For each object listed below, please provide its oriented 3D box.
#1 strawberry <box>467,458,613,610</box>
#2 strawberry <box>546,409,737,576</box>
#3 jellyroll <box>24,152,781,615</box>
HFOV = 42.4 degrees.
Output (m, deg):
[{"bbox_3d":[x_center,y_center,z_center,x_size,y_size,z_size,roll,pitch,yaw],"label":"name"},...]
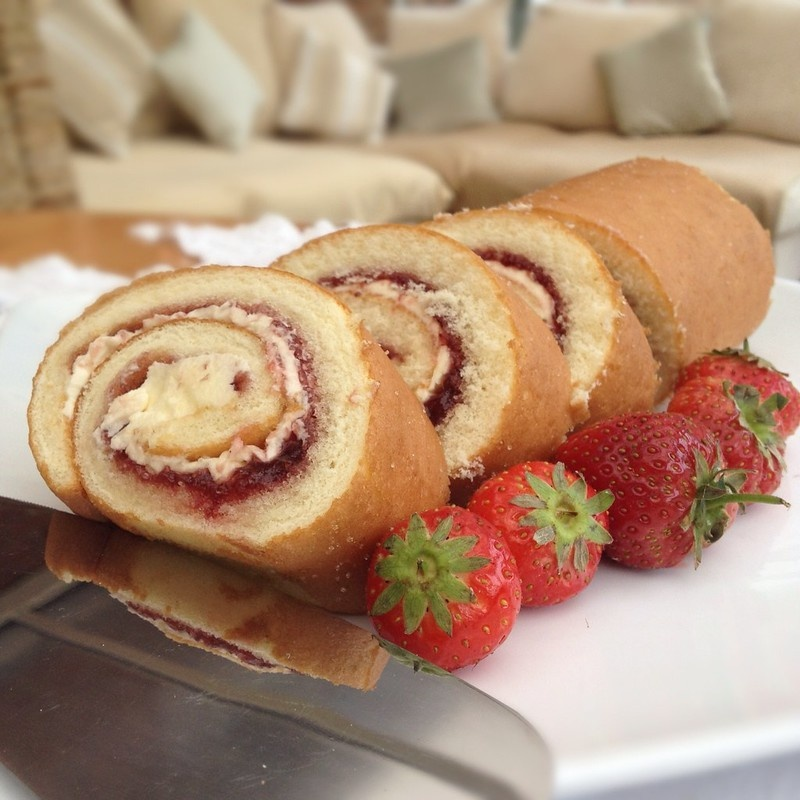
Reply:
[{"bbox_3d":[0.143,0.140,1.046,0.140,0.148,0.112,-5,68,-48],"label":"strawberry"},{"bbox_3d":[0.276,0.111,1.215,0.252,0.166,0.169,5,61,14],"label":"strawberry"},{"bbox_3d":[0.130,-0.073,1.244,0.932,0.269,0.497,-14,30,-29],"label":"jellyroll"}]
